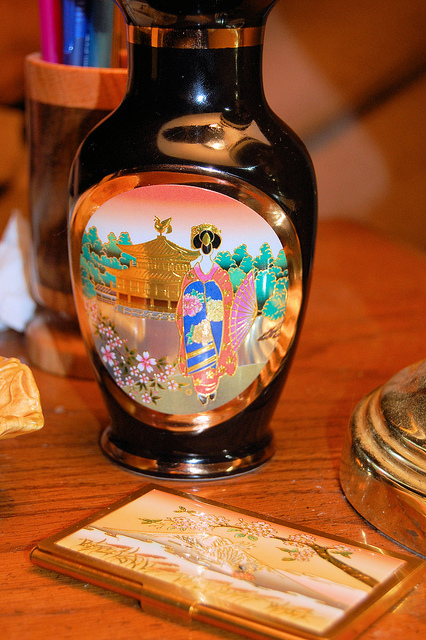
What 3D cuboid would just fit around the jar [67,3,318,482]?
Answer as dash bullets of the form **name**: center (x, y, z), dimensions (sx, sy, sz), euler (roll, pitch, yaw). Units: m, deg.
- **jar**: center (-0.008, -0.049, 0.450), dimensions (0.224, 0.293, 0.137), euler (4, 21, 2)
